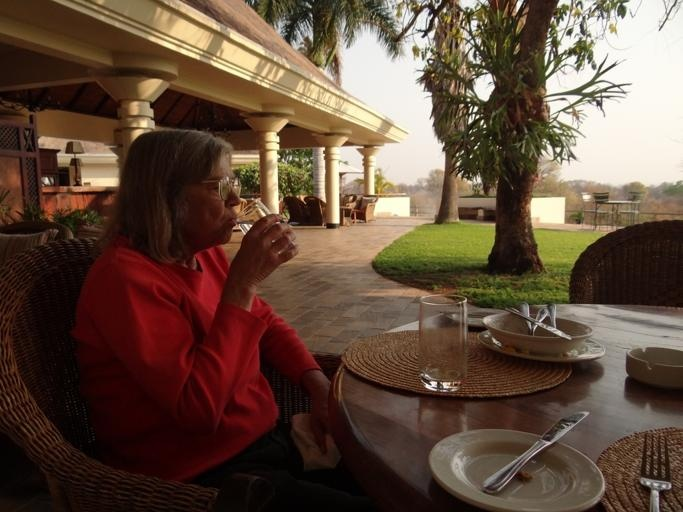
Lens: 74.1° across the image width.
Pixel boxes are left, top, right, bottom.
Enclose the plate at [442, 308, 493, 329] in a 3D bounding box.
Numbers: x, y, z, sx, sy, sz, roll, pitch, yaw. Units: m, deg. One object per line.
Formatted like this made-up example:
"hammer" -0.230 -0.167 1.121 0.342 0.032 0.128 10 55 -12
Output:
"plate" 0.363 0.180 1.301 0.118 0.019 0.120 3 8 42
